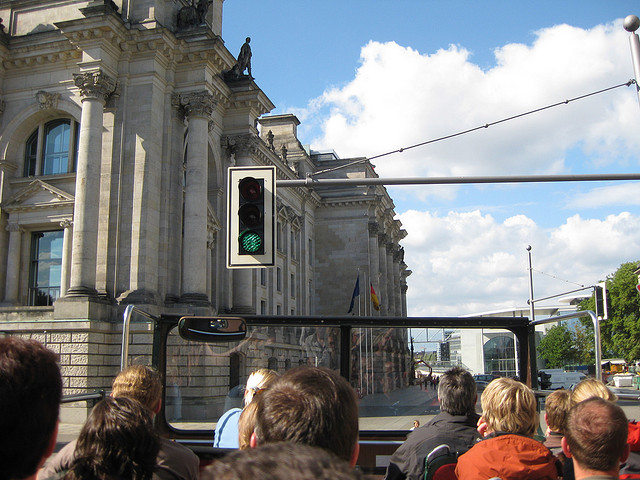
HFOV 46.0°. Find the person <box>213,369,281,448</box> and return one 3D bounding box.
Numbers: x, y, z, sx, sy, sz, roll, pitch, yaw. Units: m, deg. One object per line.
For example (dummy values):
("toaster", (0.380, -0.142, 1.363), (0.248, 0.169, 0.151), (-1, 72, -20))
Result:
("person", (-0.575, 1.902, 8.695), (0.812, 0.690, 0.595), (5, -24, -32))

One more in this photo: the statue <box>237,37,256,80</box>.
("statue", (-3.843, -9.111, 38.454), (0.732, 2.204, 1.027), (0, -13, -3))

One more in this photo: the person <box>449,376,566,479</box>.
("person", (1.848, 1.867, 7.548), (0.905, 0.977, 0.969), (-8, -14, 28))
